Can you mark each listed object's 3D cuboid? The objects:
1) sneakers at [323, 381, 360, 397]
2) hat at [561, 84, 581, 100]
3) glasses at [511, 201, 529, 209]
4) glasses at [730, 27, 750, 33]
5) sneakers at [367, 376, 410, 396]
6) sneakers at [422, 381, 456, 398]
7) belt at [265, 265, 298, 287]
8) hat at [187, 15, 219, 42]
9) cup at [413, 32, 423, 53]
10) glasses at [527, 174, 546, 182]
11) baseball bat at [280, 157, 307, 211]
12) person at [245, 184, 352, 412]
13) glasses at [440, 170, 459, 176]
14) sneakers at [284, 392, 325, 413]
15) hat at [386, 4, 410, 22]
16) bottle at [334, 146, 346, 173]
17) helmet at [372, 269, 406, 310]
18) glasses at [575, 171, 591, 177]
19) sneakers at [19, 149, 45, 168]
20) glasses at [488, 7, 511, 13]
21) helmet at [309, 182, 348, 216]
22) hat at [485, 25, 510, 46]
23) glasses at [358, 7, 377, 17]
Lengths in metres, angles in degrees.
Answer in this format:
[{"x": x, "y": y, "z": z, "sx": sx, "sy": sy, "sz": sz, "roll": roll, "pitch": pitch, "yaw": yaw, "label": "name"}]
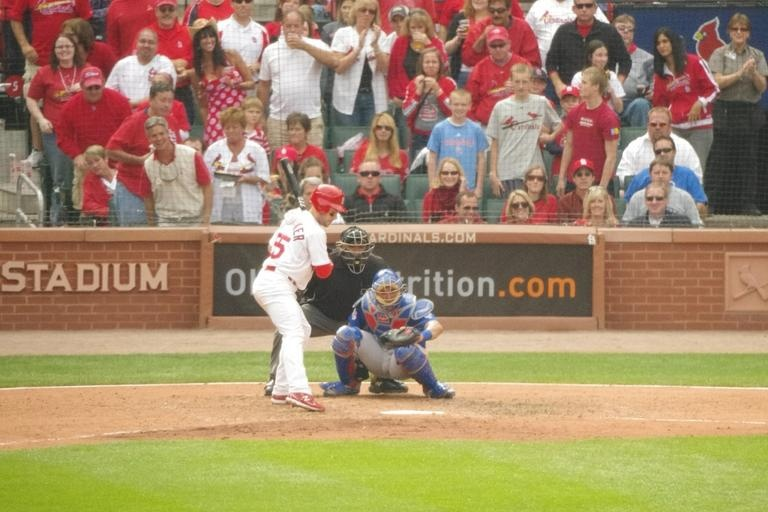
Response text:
[{"x": -0.580, "y": 1.740, "z": 22.685, "sx": 0.515, "sy": 0.228, "sz": 0.180, "roll": 5, "pitch": -1, "yaw": -10, "label": "sneakers"}, {"x": 2.845, "y": -2.530, "z": 27.070, "sx": 0.273, "sy": 0.226, "sz": 0.235, "roll": 1, "pitch": 1, "yaw": -2, "label": "hat"}, {"x": 2.015, "y": -0.757, "z": 26.250, "sx": 0.254, "sy": 0.082, "sz": 0.043, "roll": 1, "pitch": 1, "yaw": 12, "label": "glasses"}, {"x": 5.519, "y": -3.565, "z": 27.473, "sx": 0.273, "sy": 0.080, "sz": 0.110, "roll": 1, "pitch": 1, "yaw": 13, "label": "glasses"}, {"x": 0.032, "y": 1.716, "z": 22.811, "sx": 0.482, "sy": 0.284, "sz": 0.220, "roll": -1, "pitch": 3, "yaw": -2, "label": "sneakers"}, {"x": 0.731, "y": 1.759, "z": 22.636, "sx": 0.489, "sy": 0.224, "sz": 0.172, "roll": -3, "pitch": 4, "yaw": 0, "label": "sneakers"}, {"x": -1.277, "y": 0.246, "z": 21.972, "sx": 0.341, "sy": 0.082, "sz": 0.253, "roll": 30, "pitch": 2, "yaw": -5, "label": "belt"}, {"x": -2.791, "y": -3.543, "z": 27.211, "sx": 0.436, "sy": 0.375, "sz": 0.793, "roll": 1, "pitch": 1, "yaw": -7, "label": "hat"}, {"x": 0.517, "y": -3.328, "z": 27.072, "sx": 0.239, "sy": 0.288, "sz": 0.229, "roll": 4, "pitch": -9, "yaw": 1, "label": "cup"}, {"x": 2.234, "y": -1.172, "z": 26.157, "sx": 0.302, "sy": 0.123, "sz": 0.178, "roll": 1, "pitch": 1, "yaw": 2, "label": "glasses"}, {"x": -1.282, "y": -1.028, "z": 24.896, "sx": 0.195, "sy": 0.948, "sz": 0.131, "roll": -22, "pitch": -15, "yaw": -3, "label": "baseball bat"}, {"x": -1.087, "y": 0.526, "z": 22.024, "sx": 0.922, "sy": 2.859, "sz": 0.618, "roll": 1, "pitch": 1, "yaw": 24, "label": "person"}, {"x": 0.974, "y": -1.232, "z": 26.108, "sx": 0.279, "sy": 0.069, "sz": 0.081, "roll": 1, "pitch": 1, "yaw": -1, "label": "glasses"}, {"x": -1.013, "y": 1.841, "z": 21.857, "sx": 0.516, "sy": 0.232, "sz": 0.198, "roll": 19, "pitch": 18, "yaw": -21, "label": "sneakers"}, {"x": 0.233, "y": -3.864, "z": 27.616, "sx": 0.294, "sy": 0.244, "sz": 0.350, "roll": 1, "pitch": 1, "yaw": 0, "label": "hat"}, {"x": -0.629, "y": -1.490, "z": 26.884, "sx": 0.273, "sy": 0.403, "sz": 0.234, "roll": 1, "pitch": 1, "yaw": 13, "label": "bottle"}, {"x": 0.024, "y": 0.444, "z": 22.237, "sx": 0.470, "sy": 0.515, "sz": 0.529, "roll": -2, "pitch": 21, "yaw": -1, "label": "helmet"}, {"x": 2.961, "y": -1.226, "z": 26.259, "sx": 0.141, "sy": 0.074, "sz": 0.180, "roll": -1, "pitch": -9, "yaw": 7, "label": "glasses"}, {"x": -5.321, "y": -1.477, "z": 26.681, "sx": 0.159, "sy": 0.167, "sz": 0.404, "roll": 15, "pitch": 12, "yaw": 19, "label": "sneakers"}, {"x": 1.785, "y": -3.874, "z": 27.434, "sx": 0.281, "sy": 0.117, "sz": 0.125, "roll": 1, "pitch": 1, "yaw": 5, "label": "glasses"}, {"x": -0.706, "y": -0.727, "z": 22.123, "sx": 0.392, "sy": 0.267, "sz": 0.347, "roll": 12, "pitch": 1, "yaw": 9, "label": "helmet"}, {"x": 1.729, "y": -3.428, "z": 27.043, "sx": 0.322, "sy": 0.277, "sz": 0.246, "roll": 1, "pitch": 1, "yaw": 1, "label": "hat"}, {"x": -0.249, "y": -3.833, "z": 27.333, "sx": 0.319, "sy": 0.115, "sz": 0.117, "roll": 0, "pitch": 1, "yaw": -32, "label": "glasses"}]
